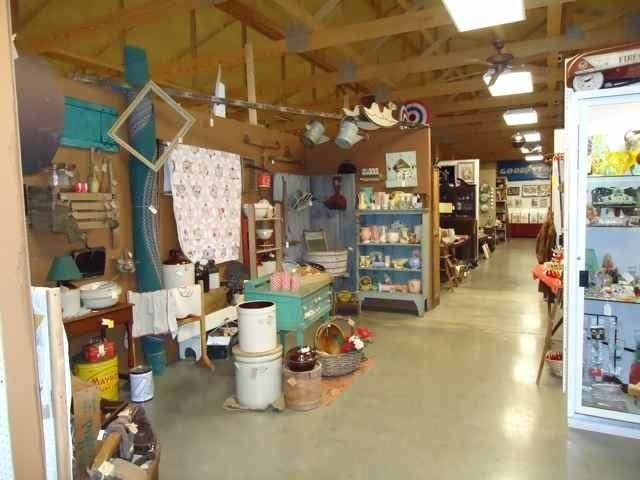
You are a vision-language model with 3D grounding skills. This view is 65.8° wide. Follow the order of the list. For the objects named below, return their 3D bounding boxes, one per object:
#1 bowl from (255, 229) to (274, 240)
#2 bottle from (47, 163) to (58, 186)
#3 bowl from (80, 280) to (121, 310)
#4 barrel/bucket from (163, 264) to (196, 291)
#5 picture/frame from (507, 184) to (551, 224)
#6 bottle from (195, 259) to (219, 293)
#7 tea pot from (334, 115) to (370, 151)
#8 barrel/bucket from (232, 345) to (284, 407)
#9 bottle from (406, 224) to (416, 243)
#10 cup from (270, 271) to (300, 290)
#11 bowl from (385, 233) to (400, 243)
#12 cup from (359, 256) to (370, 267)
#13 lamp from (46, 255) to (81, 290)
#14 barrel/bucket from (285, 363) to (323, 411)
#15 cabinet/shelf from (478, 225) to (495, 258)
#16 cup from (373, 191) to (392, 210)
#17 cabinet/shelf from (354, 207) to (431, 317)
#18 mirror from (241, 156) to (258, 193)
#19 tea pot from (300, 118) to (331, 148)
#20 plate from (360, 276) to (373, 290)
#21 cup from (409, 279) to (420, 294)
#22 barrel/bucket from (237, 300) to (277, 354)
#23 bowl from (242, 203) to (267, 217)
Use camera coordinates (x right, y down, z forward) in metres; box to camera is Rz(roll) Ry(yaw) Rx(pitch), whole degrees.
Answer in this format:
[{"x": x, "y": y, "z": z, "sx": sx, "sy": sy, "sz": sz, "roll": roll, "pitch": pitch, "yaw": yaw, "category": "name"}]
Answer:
[{"x": -0.759, "y": -0.076, "z": 6.693, "sx": 0.205, "sy": 0.163, "sz": 0.380, "roll": -1, "pitch": 8, "yaw": 0, "category": "bowl"}, {"x": -2.418, "y": -0.579, "z": 4.465, "sx": 0.037, "sy": 0.166, "sz": 0.094, "roll": -1, "pitch": 2, "yaw": 23, "category": "bottle"}, {"x": -2.071, "y": 0.488, "z": 4.653, "sx": 0.261, "sy": 0.148, "sz": 0.276, "roll": 0, "pitch": 3, "yaw": 0, "category": "bowl"}, {"x": -1.549, "y": 0.409, "z": 5.417, "sx": 0.273, "sy": 0.272, "sz": 0.268, "roll": 0, "pitch": -3, "yaw": 0, "category": "barrel/bucket"}, {"x": 8.529, "y": -1.495, "z": 20.234, "sx": 2.180, "sy": 2.159, "sz": 0.725, "roll": 1, "pitch": 1, "yaw": 39, "category": "picture/frame"}, {"x": -1.374, "y": 0.422, "z": 5.916, "sx": 0.109, "sy": 0.377, "sz": 0.378, "roll": 4, "pitch": 10, "yaw": 27, "category": "bottle"}, {"x": 0.358, "y": -1.423, "z": 6.529, "sx": 0.403, "sy": 0.388, "sz": 0.302, "roll": -3, "pitch": 9, "yaw": -15, "category": "tea pot"}, {"x": -0.592, "y": 1.240, "z": 4.804, "sx": 0.525, "sy": 0.514, "sz": 0.494, "roll": 0, "pitch": 6, "yaw": 0, "category": "barrel/bucket"}, {"x": 1.432, "y": -0.094, "z": 7.762, "sx": 0.136, "sy": 0.257, "sz": 0.282, "roll": 1, "pitch": 9, "yaw": 10, "category": "bottle"}, {"x": -0.368, "y": 0.416, "z": 5.292, "sx": 0.212, "sy": 0.157, "sz": 0.210, "roll": -1, "pitch": -3, "yaw": 0, "category": "cup"}, {"x": 1.130, "y": -0.032, "z": 7.750, "sx": 0.170, "sy": 0.139, "sz": 0.162, "roll": 2, "pitch": -1, "yaw": 0, "category": "bowl"}, {"x": 0.691, "y": 0.352, "z": 8.002, "sx": 0.151, "sy": 0.171, "sz": 0.152, "roll": 2, "pitch": 0, "yaw": 0, "category": "cup"}, {"x": -2.339, "y": 0.291, "z": 4.500, "sx": 0.258, "sy": 0.303, "sz": 0.349, "roll": -6, "pitch": 10, "yaw": -31, "category": "lamp"}, {"x": -0.167, "y": 1.374, "z": 4.739, "sx": 0.353, "sy": 0.348, "sz": 0.341, "roll": -2, "pitch": 1, "yaw": 0, "category": "barrel/bucket"}, {"x": 4.793, "y": 0.024, "z": 14.456, "sx": 0.495, "sy": 0.860, "sz": 0.804, "roll": -5, "pitch": 8, "yaw": 15, "category": "cabinet/shelf"}, {"x": 0.952, "y": -0.634, "z": 7.836, "sx": 0.258, "sy": 0.235, "sz": 0.256, "roll": -1, "pitch": 8, "yaw": 0, "category": "cup"}, {"x": 1.140, "y": 0.287, "z": 7.841, "sx": 1.125, "sy": 1.597, "sz": 0.704, "roll": 1, "pitch": 9, "yaw": 11, "category": "cabinet/shelf"}, {"x": -0.983, "y": -0.885, "z": 6.703, "sx": 0.179, "sy": 0.528, "sz": 0.493, "roll": 0, "pitch": 5, "yaw": 14, "category": "mirror"}, {"x": -0.054, "y": -1.352, "z": 6.726, "sx": 0.424, "sy": 0.410, "sz": 0.254, "roll": 25, "pitch": -47, "yaw": -18, "category": "tea pot"}, {"x": 0.722, "y": 0.691, "z": 7.979, "sx": 0.182, "sy": 0.217, "sz": 0.078, "roll": -2, "pitch": -3, "yaw": 2, "category": "plate"}, {"x": 1.446, "y": 0.713, "z": 7.659, "sx": 0.190, "sy": 0.197, "sz": 0.149, "roll": 1, "pitch": 1, "yaw": 10, "category": "cup"}, {"x": -0.567, "y": 0.823, "z": 4.757, "sx": 0.434, "sy": 0.426, "sz": 0.403, "roll": 0, "pitch": -1, "yaw": 0, "category": "barrel/bucket"}, {"x": -0.857, "y": -0.381, "z": 6.518, "sx": 0.318, "sy": 0.190, "sz": 0.348, "roll": -1, "pitch": 8, "yaw": 0, "category": "bowl"}]
